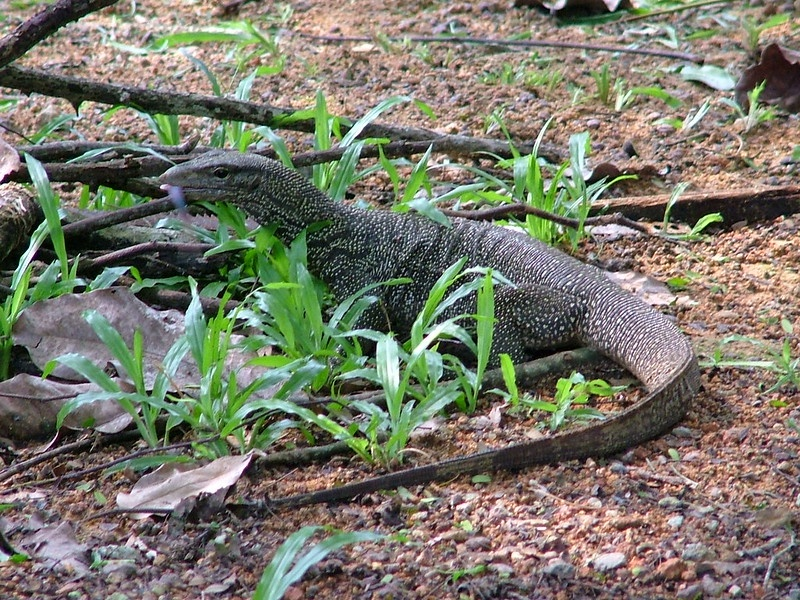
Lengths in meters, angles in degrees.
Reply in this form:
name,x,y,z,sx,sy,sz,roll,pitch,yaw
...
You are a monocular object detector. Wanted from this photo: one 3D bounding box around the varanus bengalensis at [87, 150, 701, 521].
name,x,y,z,sx,sy,sz,roll,pitch,yaw
varanus bengalensis,0.269,-0.041,5.231,1.719,0.990,2.673,-20,37,-33
